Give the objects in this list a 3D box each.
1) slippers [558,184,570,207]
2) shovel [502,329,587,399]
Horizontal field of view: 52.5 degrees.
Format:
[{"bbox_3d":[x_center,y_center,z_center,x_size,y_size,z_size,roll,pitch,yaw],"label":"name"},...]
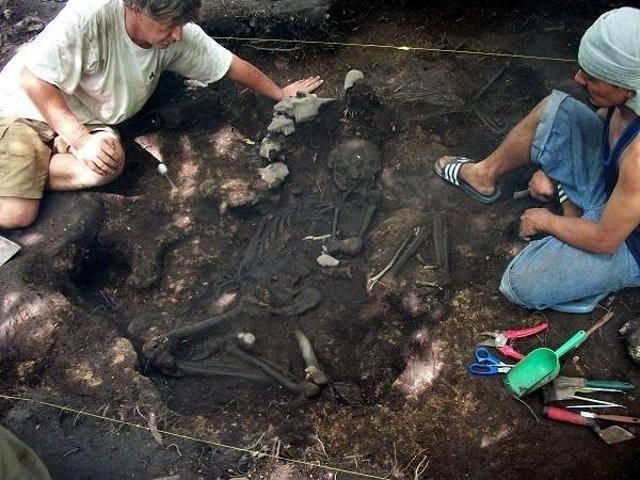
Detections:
[{"bbox_3d":[2.238,-0.414,5.949,0.097,0.045,0.164,-25,84,42],"label":"slippers"},{"bbox_3d":[1.974,1.046,5.525,0.835,0.210,0.268,-35,38,2],"label":"shovel"}]
